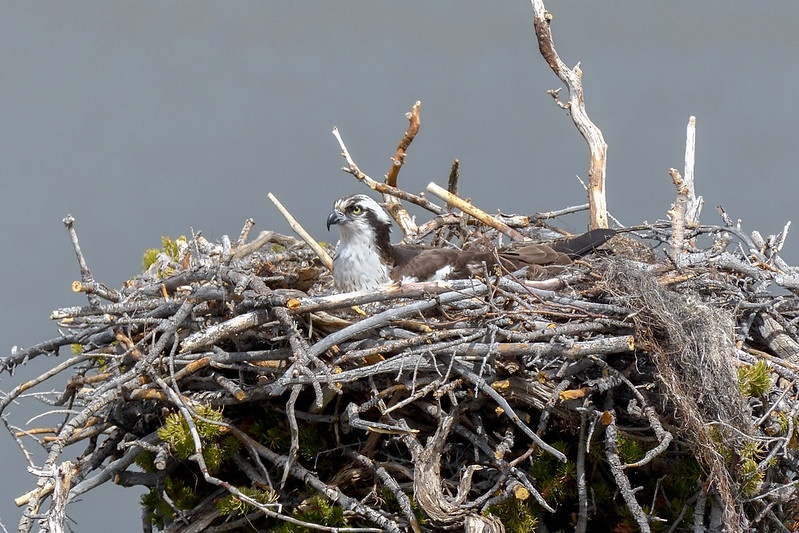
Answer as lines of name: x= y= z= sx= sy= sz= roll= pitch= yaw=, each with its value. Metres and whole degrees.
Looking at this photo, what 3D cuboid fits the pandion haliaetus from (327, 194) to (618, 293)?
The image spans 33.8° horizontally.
pandion haliaetus: x=0.335 y=-0.067 z=6.442 sx=1.060 sy=0.574 sz=0.321 roll=0 pitch=-25 yaw=-13
